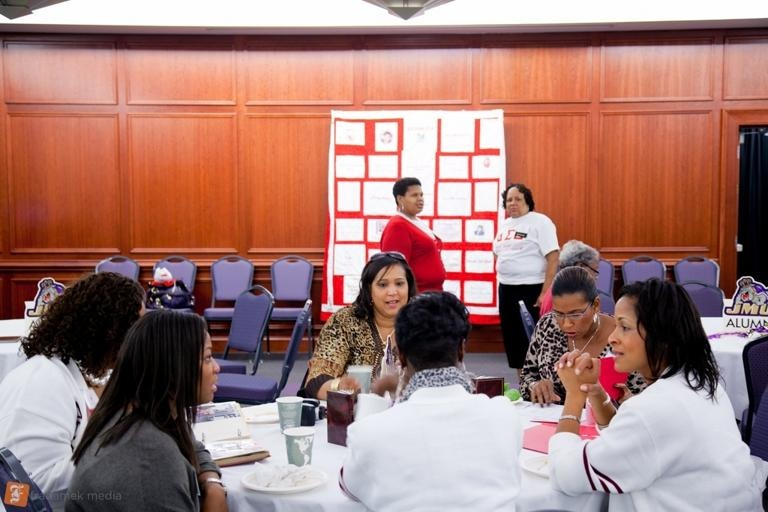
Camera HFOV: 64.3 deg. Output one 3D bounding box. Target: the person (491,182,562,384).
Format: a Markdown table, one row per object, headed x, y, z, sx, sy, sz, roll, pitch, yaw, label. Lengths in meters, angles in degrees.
| x | y | z | sx | sy | sz | roll | pitch | yaw | label |
| --- | --- | --- | --- | --- | --- | --- | --- | --- | --- |
| 1.283 | 0.308 | 5.657 | 0.510 | 1.935 | 0.696 | -12 | 11 | -29 | person |

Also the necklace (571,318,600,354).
| x | y | z | sx | sy | sz | roll | pitch | yaw | label |
| --- | --- | --- | --- | --- | --- | --- | --- | --- | --- |
| 1.060 | 0.413 | 3.180 | 0.042 | 0.210 | 0.137 | 11 | 7 | 12 | necklace |

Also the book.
| x | y | z | sx | sy | sz | roll | pitch | yaw | label |
| --- | --- | --- | --- | --- | --- | --- | --- | --- | --- |
| -0.652 | 0.734 | 2.513 | 0.233 | 0.111 | 0.301 | 0 | 8 | -28 | book |

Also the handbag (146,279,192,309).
| x | y | z | sx | sy | sz | roll | pitch | yaw | label |
| --- | --- | --- | --- | --- | --- | --- | --- | --- | --- |
| -2.026 | 0.369 | 5.756 | 0.273 | 0.175 | 0.279 | 1 | -1 | 14 | handbag |
